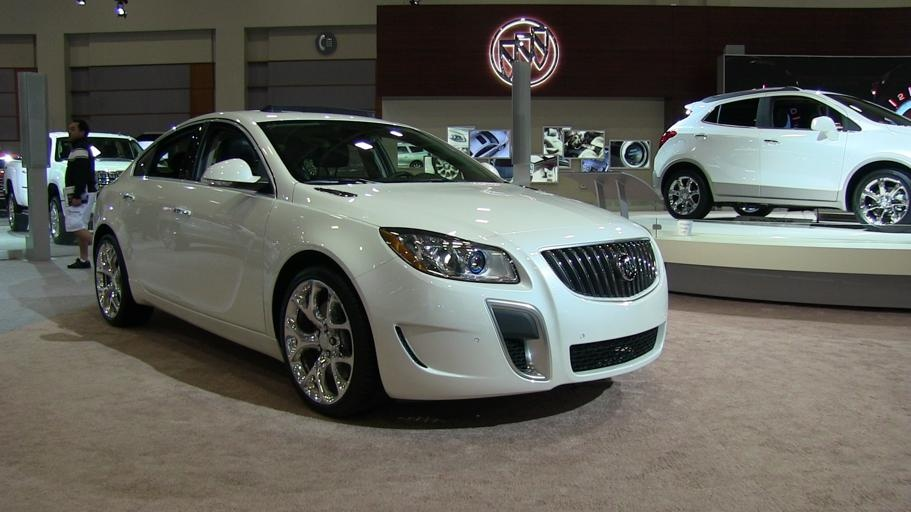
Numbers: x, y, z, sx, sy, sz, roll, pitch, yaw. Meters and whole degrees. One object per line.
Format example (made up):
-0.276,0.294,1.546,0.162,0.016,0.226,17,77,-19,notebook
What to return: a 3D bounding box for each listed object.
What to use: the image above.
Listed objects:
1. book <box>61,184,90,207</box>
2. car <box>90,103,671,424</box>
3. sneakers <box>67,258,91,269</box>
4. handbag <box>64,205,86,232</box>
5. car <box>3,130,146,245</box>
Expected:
-6.008,-0.932,8.445,0.308,0.328,0.095,0,-3,1,book
-0.870,-0.069,4.345,4.681,2.325,1.255,5,10,27,car
-6.151,0.131,8.672,0.443,0.206,0.167,3,6,16,sneakers
-5.982,-0.607,8.380,0.369,0.498,0.271,2,-10,-34,handbag
-8.259,-1.489,11.438,2.368,2.202,4.601,-3,5,-40,car
